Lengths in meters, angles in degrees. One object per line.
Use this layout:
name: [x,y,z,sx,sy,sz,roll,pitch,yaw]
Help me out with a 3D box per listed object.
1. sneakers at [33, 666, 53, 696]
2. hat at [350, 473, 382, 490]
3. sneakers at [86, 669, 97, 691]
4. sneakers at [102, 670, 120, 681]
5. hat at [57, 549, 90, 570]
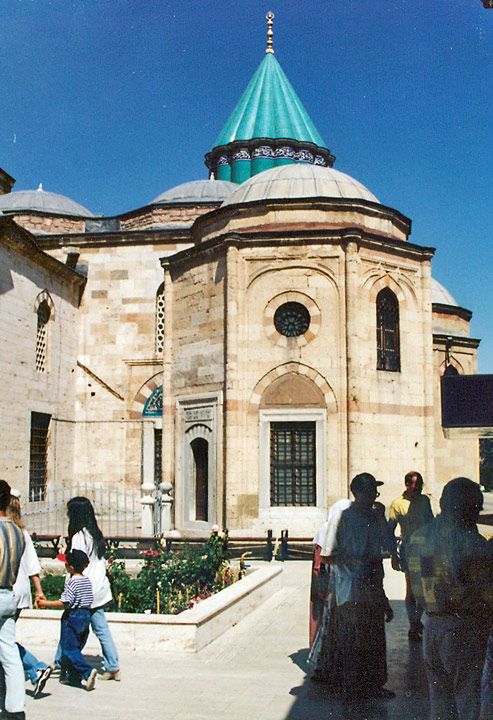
sneakers: [-1.791,2.776,9.488,0.157,0.256,0.410,-2,0,-12]
hat: [1.057,1.044,9.263,0.260,0.109,0.177,-3,2,-19]
sneakers: [-1.366,2.800,9.507,0.061,0.163,0.111,13,0,-30]
sneakers: [-1.237,2.868,9.859,0.172,0.089,0.082,-2,0,-1]
hat: [-1.547,1.771,9.760,0.153,0.227,0.126,-36,-23,-43]
